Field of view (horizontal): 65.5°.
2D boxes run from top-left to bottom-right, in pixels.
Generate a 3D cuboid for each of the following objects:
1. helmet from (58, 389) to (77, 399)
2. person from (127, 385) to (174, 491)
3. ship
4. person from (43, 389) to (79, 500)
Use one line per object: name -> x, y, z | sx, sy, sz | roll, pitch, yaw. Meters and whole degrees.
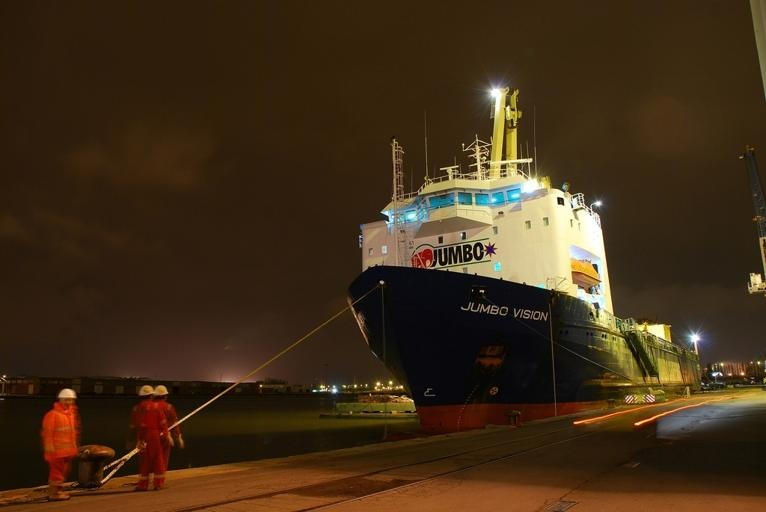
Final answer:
helmet -> -7.731, 3.343, 14.641 | 0.428, 0.285, 0.448 | -6, -13, 33
person -> -5.917, 4.573, 15.160 | 0.922, 2.584, 1.227 | 3, -12, -23
ship -> 10.826, 0.219, 39.315 | 10.423, 19.982, 34.011 | -7, -12, 38
person -> -7.895, 4.541, 14.539 | 0.844, 2.588, 0.937 | 5, -13, -29
